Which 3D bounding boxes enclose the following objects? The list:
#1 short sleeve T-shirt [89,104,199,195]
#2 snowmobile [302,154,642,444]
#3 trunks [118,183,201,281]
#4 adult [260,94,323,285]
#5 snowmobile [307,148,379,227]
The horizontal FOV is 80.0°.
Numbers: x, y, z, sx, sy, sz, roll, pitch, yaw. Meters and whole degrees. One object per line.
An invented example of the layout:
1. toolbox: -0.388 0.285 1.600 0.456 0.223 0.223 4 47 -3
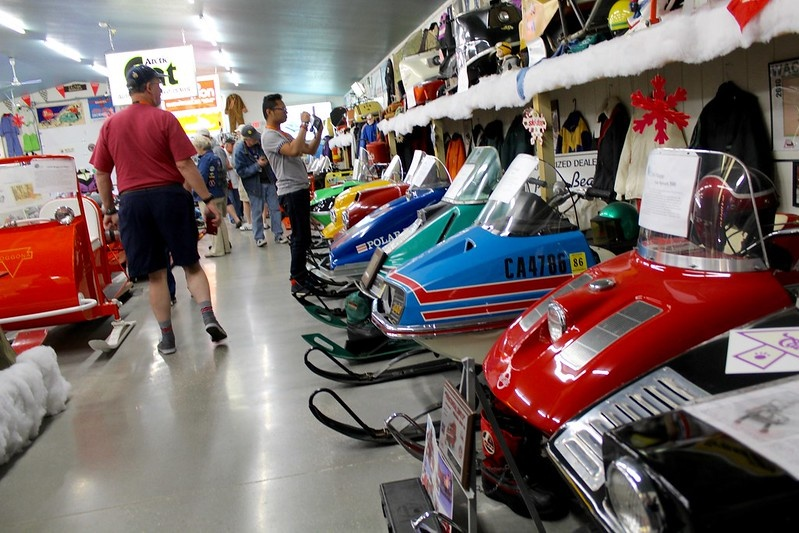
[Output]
1. short sleeve T-shirt: -2.084 -0.919 3.833 0.770 0.674 0.363 -8 5 -9
2. snowmobile: 0.634 0.104 2.919 2.406 1.362 1.039 -8 19 -7
3. trunks: -1.983 -0.331 3.846 0.571 0.656 0.363 -8 16 -13
4. adult: -1.115 -0.798 5.120 0.605 2.025 0.707 -5 12 6
5. snowmobile: -0.949 -1.145 6.964 1.604 0.977 0.749 -13 18 -27
